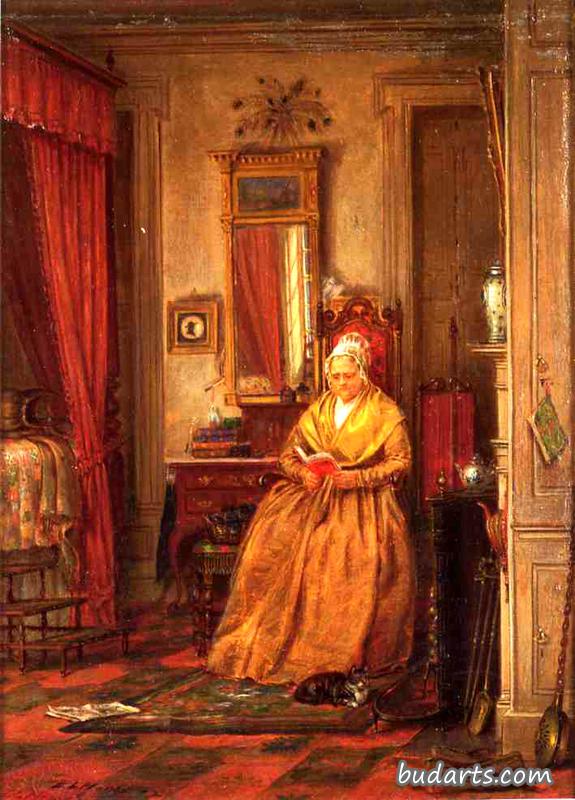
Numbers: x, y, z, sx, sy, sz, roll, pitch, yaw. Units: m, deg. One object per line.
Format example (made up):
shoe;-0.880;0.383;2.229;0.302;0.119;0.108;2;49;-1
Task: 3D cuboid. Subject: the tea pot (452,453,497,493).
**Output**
tea pot;0.827;0.326;5.239;0.148;0.152;0.118;0;-4;10

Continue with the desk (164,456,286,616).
desk;-0.226;0.686;5.921;0.613;0.956;0.571;0;-4;1

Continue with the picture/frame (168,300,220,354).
picture/frame;-0.453;-0.356;5.655;0.199;0.263;0.026;0;0;-6

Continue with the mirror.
mirror;-0.073;-0.597;5.624;0.551;1.367;0.148;-2;-25;0

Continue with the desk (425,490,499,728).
desk;0.756;0.958;5.112;0.272;0.935;0.502;-4;-12;-3
